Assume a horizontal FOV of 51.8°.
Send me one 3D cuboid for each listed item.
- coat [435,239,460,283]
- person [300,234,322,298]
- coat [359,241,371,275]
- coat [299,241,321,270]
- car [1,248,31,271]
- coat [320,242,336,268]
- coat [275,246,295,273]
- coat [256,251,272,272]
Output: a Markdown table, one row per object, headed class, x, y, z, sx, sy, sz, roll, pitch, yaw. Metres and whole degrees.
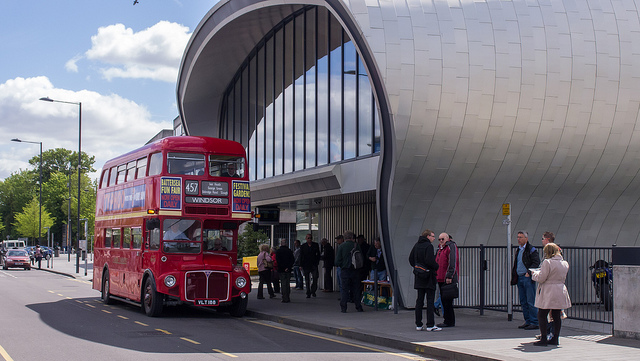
| class | x | y | z | sx | sy | sz | roll | pitch | yaw |
| --- | --- | --- | --- | --- | --- | --- | --- | --- | --- |
| coat | 4.981 | 3.148 | 26.009 | 1.003 | 1.694 | 1.747 | 2 | -5 | -22 |
| person | -0.289 | 4.382 | 33.948 | 1.122 | 3.046 | 1.217 | 1 | -2 | -20 |
| coat | 2.173 | 3.641 | 31.526 | 0.469 | 1.519 | 1.297 | -1 | -8 | 4 |
| coat | -0.585 | 3.904 | 34.382 | 1.276 | 1.377 | 0.763 | 0 | 1 | -23 |
| car | -25.551 | 6.576 | 55.316 | 1.955 | 1.776 | 2.437 | 6 | -10 | -36 |
| coat | 0.381 | 3.915 | 34.810 | 0.769 | 1.256 | 0.990 | -1 | -8 | 5 |
| coat | -1.773 | 3.859 | 32.537 | 0.876 | 1.242 | 0.665 | 0 | -8 | -5 |
| coat | -2.829 | 4.088 | 33.298 | 0.576 | 1.082 | 0.848 | 5 | -41 | 7 |
